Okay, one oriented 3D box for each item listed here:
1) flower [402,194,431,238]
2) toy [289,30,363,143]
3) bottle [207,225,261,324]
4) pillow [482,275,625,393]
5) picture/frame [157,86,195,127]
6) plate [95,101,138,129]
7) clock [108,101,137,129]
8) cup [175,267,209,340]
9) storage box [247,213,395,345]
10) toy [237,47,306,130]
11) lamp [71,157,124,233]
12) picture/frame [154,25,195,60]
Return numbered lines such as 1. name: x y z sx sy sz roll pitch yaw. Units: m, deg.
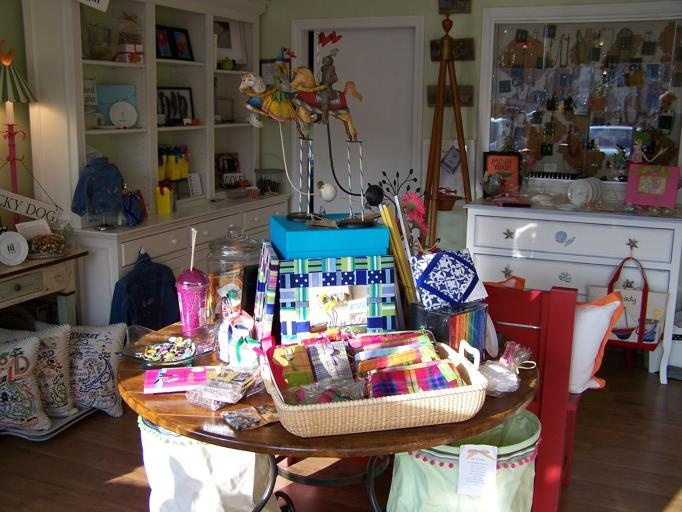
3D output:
1. flower: 0.290 -0.193 2.162 0.108 0.129 0.117 5 -9 -2
2. toy: -0.061 -0.698 2.204 0.290 0.418 0.135 3 12 0
3. bottle: -0.476 0.060 2.292 0.213 0.398 0.223 6 20 -2
4. pillow: 0.943 0.326 2.350 0.441 0.523 0.147 0 13 -40
5. picture/frame: -1.363 -1.220 4.330 0.030 0.299 0.404 13 19 23
6. plate: -1.611 -1.036 3.841 0.251 0.196 0.091 -5 11 -13
7. clock: -1.573 -1.031 3.842 0.191 0.202 0.031 -29 22 -30
8. cup: -0.580 0.174 2.081 0.123 0.268 0.123 2 12 0
9. storage box: -0.094 0.085 2.030 0.503 0.518 0.387 -1 0 -17
10. toy: -0.271 -0.693 2.207 0.318 0.329 0.141 1 22 -10
11. lamp: -1.591 -0.491 3.536 0.176 0.413 0.412 34 41 28
12. picture/frame: -1.345 -1.709 4.228 0.030 0.306 0.412 -1 10 27
